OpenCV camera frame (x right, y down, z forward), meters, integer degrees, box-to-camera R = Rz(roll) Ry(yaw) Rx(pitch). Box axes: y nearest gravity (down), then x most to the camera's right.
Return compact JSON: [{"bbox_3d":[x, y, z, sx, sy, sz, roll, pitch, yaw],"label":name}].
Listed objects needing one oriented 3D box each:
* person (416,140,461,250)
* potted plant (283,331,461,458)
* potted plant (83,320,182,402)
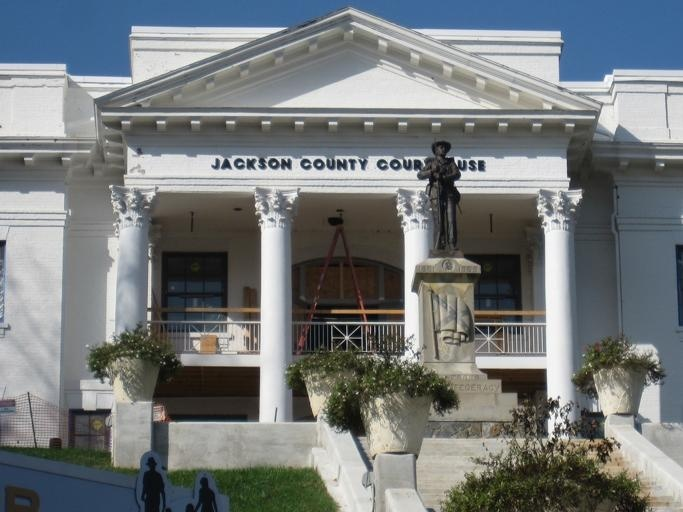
[{"bbox_3d":[2.653,-1.551,36.263,0.937,2.897,0.687,1,-5,4],"label":"person"},{"bbox_3d":[0.888,2.885,30.855,2.603,2.263,3.006,3,-13,-13],"label":"potted plant"},{"bbox_3d":[-5.259,2.799,36.474,1.765,2.047,2.032,0,-15,17],"label":"potted plant"}]
